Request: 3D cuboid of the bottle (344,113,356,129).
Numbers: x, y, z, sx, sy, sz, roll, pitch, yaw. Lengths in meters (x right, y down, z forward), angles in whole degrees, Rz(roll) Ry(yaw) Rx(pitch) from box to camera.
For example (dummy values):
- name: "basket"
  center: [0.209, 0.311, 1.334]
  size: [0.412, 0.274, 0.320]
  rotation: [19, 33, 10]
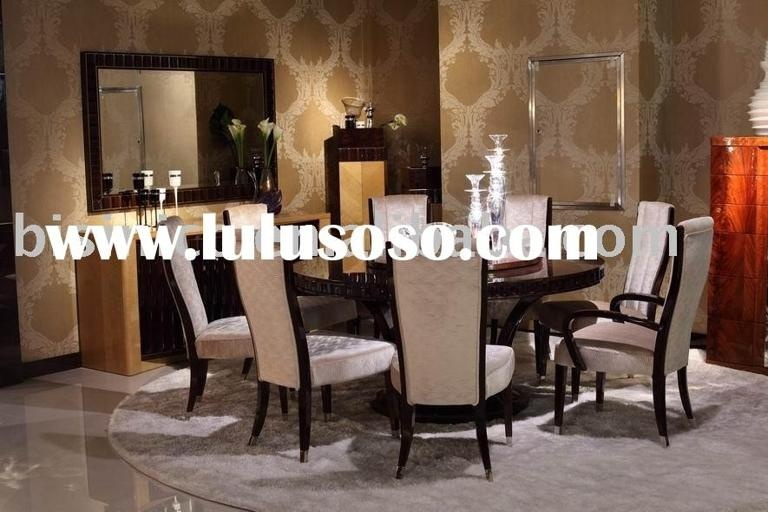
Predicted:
- name: "bottle"
  center: [-0.344, -1.396, 6.461]
  size: [0.136, 0.201, 0.141]
  rotation: [1, -2, 0]

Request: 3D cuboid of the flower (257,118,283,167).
- name: "flower"
  center: [-1.176, -1.164, 6.263]
  size: [0.325, 0.540, 0.396]
  rotation: [-2, 49, -12]

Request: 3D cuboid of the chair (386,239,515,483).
- name: "chair"
  center: [0.369, 0.598, 3.705]
  size: [0.736, 1.284, 0.805]
  rotation: [0, 5, 16]

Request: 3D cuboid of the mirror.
- name: "mirror"
  center: [-1.958, -1.130, 5.690]
  size: [1.558, 1.254, 0.060]
  rotation: [-5, 8, -32]

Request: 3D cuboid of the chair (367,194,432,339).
- name: "chair"
  center: [0.122, -0.146, 5.037]
  size: [0.569, 1.069, 0.660]
  rotation: [-3, -24, 6]

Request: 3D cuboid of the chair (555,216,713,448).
- name: "chair"
  center: [1.629, 0.431, 4.054]
  size: [0.871, 1.310, 0.757]
  rotation: [1, 8, 36]

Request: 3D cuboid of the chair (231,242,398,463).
- name: "chair"
  center: [-0.446, 0.576, 3.958]
  size: [0.686, 1.199, 0.855]
  rotation: [0, 2, 44]
